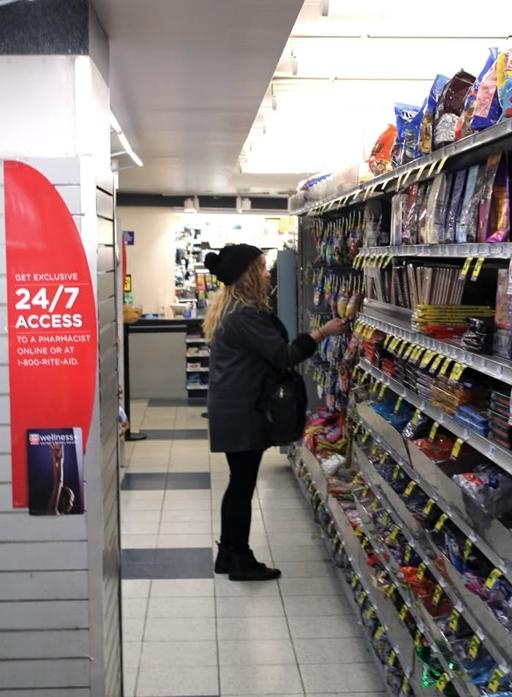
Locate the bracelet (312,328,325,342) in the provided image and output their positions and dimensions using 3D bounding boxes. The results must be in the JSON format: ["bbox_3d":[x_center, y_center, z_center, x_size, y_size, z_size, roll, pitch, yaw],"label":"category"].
[{"bbox_3d":[0.341,-0.067,2.803,0.061,0.072,0.067,-10,2,-21],"label":"bracelet"}]

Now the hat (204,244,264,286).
[{"bbox_3d":[-0.131,-0.467,2.827,0.265,0.170,0.210,-11,6,-18],"label":"hat"}]

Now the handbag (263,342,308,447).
[{"bbox_3d":[0.130,0.222,2.973,0.300,0.669,0.487,1,6,1],"label":"handbag"}]
